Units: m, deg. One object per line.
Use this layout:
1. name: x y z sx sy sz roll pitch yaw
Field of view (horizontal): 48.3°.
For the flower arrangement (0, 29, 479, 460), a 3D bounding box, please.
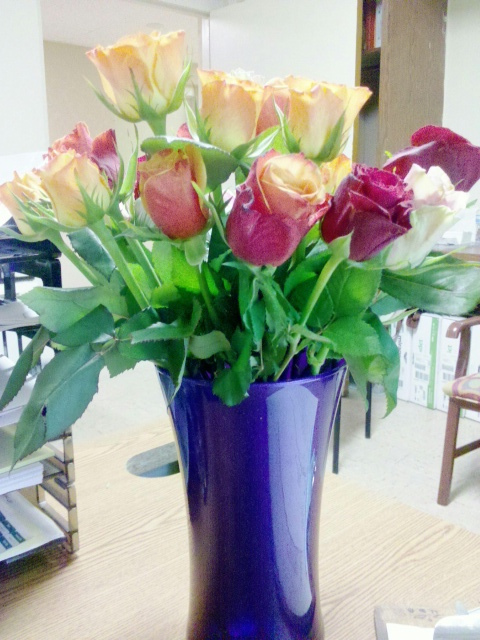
1. flower arrangement: 0.038 -0.015 0.363 0.254 0.183 0.257 0 16 33
